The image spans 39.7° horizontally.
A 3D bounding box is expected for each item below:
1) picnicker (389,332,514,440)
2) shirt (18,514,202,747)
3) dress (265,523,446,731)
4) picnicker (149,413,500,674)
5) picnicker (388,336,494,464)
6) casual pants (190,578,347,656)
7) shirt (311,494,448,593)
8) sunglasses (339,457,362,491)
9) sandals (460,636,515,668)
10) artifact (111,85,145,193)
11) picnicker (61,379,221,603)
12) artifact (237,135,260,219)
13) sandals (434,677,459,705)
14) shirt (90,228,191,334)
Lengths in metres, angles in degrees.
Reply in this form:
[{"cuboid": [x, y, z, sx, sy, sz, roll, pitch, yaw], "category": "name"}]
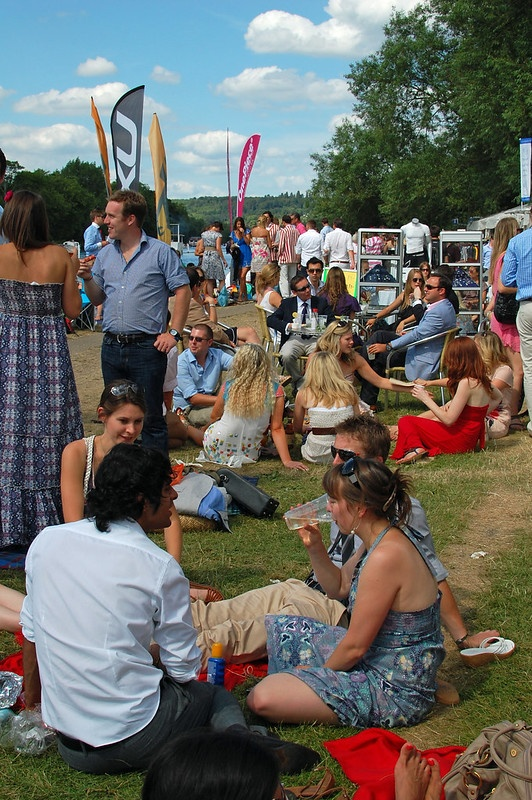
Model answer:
[{"cuboid": [1.794, -0.151, 7.221, 1.386, 1.251, 0.860, 3, 6, 21], "category": "picnicker"}, {"cuboid": [-0.426, 0.681, 2.147, 0.495, 0.662, 0.284, -3, 8, -17], "category": "shirt"}, {"cuboid": [0.368, 0.879, 3.072, 0.748, 0.874, 0.738, 0, -9, 1], "category": "dress"}, {"cuboid": [0.262, 0.848, 3.441, 1.388, 0.859, 0.793, -15, -18, 5], "category": "picnicker"}, {"cuboid": [1.534, -0.081, 6.957, 1.138, 1.207, 1.035, 6, 19, 30], "category": "picnicker"}, {"cuboid": [-0.004, 0.961, 3.335, 0.681, 0.186, 0.378, -1, 3, -32], "category": "casual pants"}, {"cuboid": [0.496, 0.551, 3.226, 0.561, 0.522, 0.263, 4, -10, 38], "category": "shirt"}, {"cuboid": [0.298, 0.262, 2.615, 0.031, 0.086, 0.085, -18, 16, -15], "category": "sunglasses"}, {"cuboid": [1.005, 1.128, 3.367, 0.261, 0.072, 0.105, -12, 17, -19], "category": "sandals"}, {"cuboid": [-1.771, -3.305, 9.453, 0.398, 1.259, 0.636, -2, 8, -11], "category": "artifact"}, {"cuboid": [-0.550, 0.409, 3.326, 0.946, 0.864, 0.445, 11, 10, 36], "category": "picnicker"}, {"cuboid": [-0.702, -6.806, 23.635, 0.715, 3.085, 0.438, -13, 35, -33], "category": "artifact"}, {"cuboid": [0.735, 1.208, 3.066, 0.068, 0.071, 0.112, -6, -5, -13], "category": "sandals"}, {"cuboid": [-0.926, -0.803, 5.149, 0.771, 0.699, 0.395, 6, 17, 24], "category": "shirt"}]
